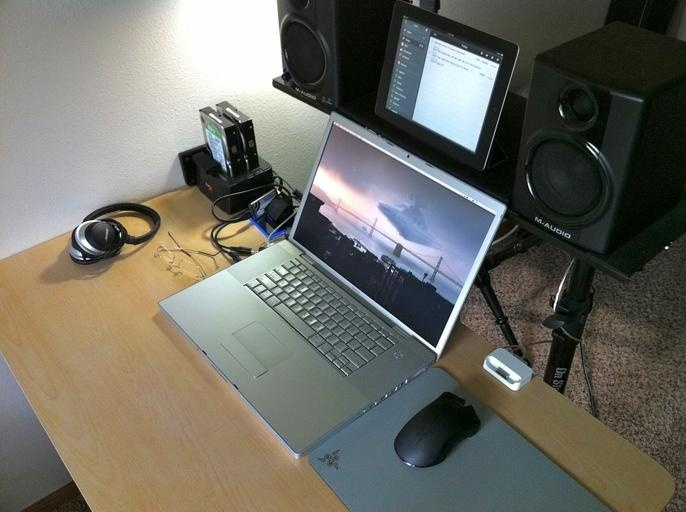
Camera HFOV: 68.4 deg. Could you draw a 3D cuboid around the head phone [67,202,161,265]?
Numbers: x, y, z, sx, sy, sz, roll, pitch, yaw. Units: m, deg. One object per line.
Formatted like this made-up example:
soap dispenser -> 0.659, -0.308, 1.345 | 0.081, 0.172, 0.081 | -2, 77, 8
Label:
head phone -> -0.641, -0.050, 1.323 | 0.191, 0.107, 0.266 | -3, 4, -13
